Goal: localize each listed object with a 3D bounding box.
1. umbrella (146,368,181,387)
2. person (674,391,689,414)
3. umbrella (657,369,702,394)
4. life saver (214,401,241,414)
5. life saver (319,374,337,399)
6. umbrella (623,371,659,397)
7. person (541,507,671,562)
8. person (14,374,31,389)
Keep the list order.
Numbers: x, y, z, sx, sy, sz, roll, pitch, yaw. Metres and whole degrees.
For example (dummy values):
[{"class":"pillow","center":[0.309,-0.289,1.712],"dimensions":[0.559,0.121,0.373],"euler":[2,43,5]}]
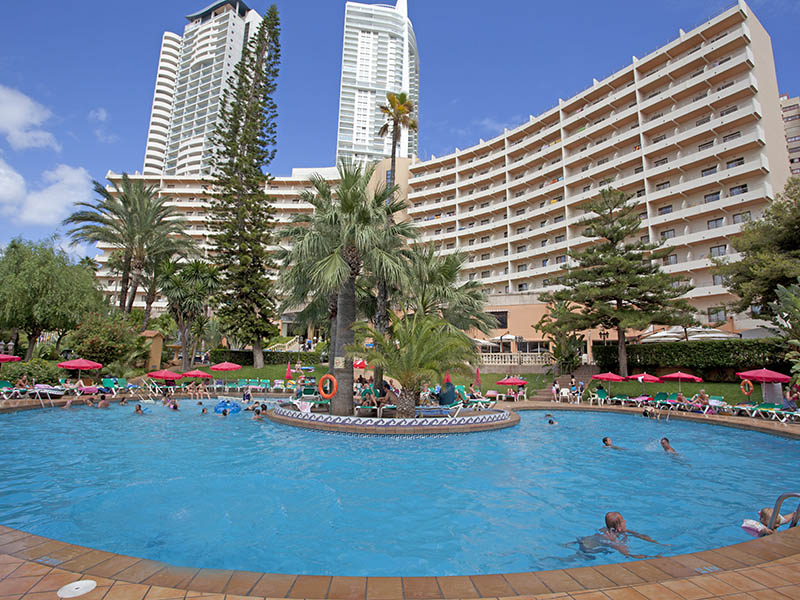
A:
[{"class":"umbrella","center":[-14.620,4.729,31.166],"dimensions":[1.656,0.672,1.631],"euler":[9,-6,-44]},{"class":"person","center":[13.159,4.739,23.628],"dimensions":[0.287,0.755,0.572],"euler":[-6,-7,-33]},{"class":"umbrella","center":[15.303,4.410,27.668],"dimensions":[1.471,0.941,1.359],"euler":[4,-8,-42]},{"class":"life saver","center":[-8.108,4.998,23.773],"dimensions":[0.815,0.271,0.835],"euler":[-1,-5,26]},{"class":"life saver","center":[-2.856,3.389,19.996],"dimensions":[0.518,0.896,0.901],"euler":[-1,4,-26]},{"class":"umbrella","center":[12.803,4.565,26.859],"dimensions":[1.600,1.159,1.692],"euler":[-2,-3,40]},{"class":"person","center":[4.338,4.906,10.643],"dimensions":[1.512,0.522,0.886],"euler":[-12,-13,12]},{"class":"person","center":[-18.623,3.974,24.973],"dimensions":[0.609,0.921,0.614],"euler":[-3,-2,37]}]
